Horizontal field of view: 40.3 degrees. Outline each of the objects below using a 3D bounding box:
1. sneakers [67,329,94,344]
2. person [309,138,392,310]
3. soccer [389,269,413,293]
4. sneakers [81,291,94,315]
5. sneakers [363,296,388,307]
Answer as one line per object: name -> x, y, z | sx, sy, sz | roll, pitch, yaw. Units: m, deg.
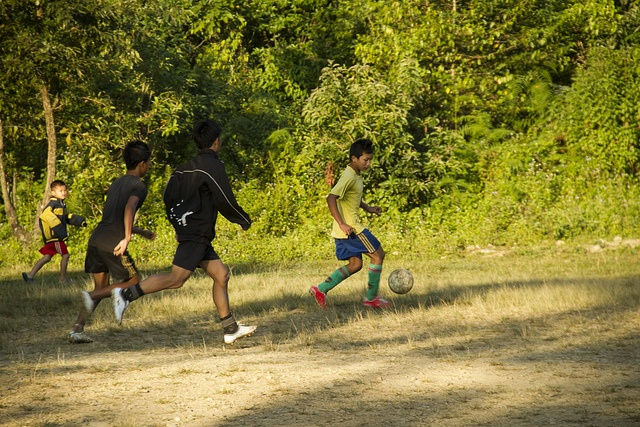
sneakers -> -4.537, 2.309, 16.379 | 0.514, 0.241, 0.189 | 6, 17, -26
person -> 0.583, 0.279, 17.570 | 1.340, 2.458, 1.049 | -7, -3, 4
soccer -> 1.710, 1.411, 18.240 | 0.476, 0.489, 0.492 | 0, 1, 11
sneakers -> -4.258, 1.623, 15.995 | 0.201, 0.439, 0.158 | 2, 21, 41
sneakers -> 1.131, 1.822, 17.793 | 0.530, 0.223, 0.189 | 0, -4, -2
